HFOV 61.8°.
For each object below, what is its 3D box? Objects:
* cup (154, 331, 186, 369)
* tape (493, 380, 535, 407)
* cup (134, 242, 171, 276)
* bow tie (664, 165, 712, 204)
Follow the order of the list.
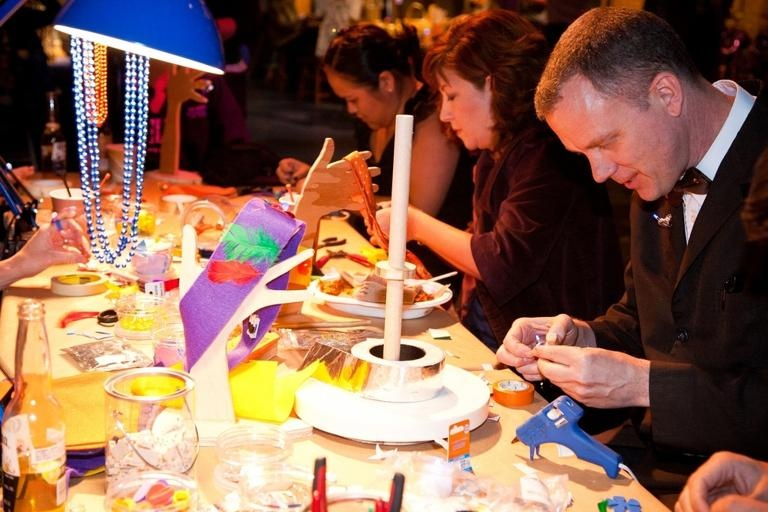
[{"bbox_3d":[-0.558,0.240,1.669,0.091,0.091,0.090,2,4,0],"label":"cup"},{"bbox_3d":[0.342,0.357,1.741,0.080,0.031,0.075,-2,15,-3],"label":"tape"},{"bbox_3d":[-0.858,0.008,2.378,0.133,0.116,0.127,2,3,0],"label":"cup"},{"bbox_3d":[0.951,-0.218,2.019,0.045,0.125,0.125,34,34,-1],"label":"bow tie"}]
